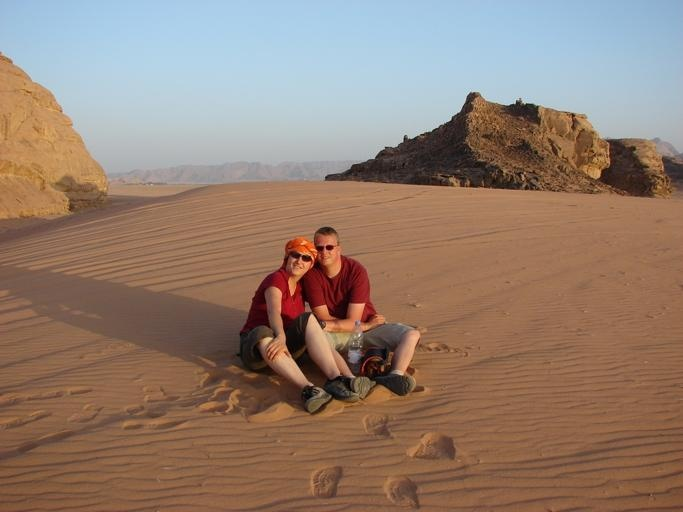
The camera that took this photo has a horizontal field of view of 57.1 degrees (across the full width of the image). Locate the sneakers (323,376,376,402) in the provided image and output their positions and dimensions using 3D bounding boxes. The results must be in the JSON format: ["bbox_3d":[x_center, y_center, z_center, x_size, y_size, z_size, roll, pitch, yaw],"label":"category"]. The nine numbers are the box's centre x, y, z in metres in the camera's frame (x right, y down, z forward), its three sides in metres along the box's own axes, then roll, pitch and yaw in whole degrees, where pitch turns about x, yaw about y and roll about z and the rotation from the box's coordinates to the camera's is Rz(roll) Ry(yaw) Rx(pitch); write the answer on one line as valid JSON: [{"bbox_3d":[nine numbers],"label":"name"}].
[{"bbox_3d":[0.086,1.222,5.822,0.471,0.216,0.190,0,11,1],"label":"sneakers"}]

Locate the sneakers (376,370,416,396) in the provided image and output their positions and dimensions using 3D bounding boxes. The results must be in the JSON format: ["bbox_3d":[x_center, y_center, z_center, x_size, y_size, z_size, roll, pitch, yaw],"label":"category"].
[{"bbox_3d":[0.511,1.168,5.955,0.485,0.156,0.153,14,34,33],"label":"sneakers"}]

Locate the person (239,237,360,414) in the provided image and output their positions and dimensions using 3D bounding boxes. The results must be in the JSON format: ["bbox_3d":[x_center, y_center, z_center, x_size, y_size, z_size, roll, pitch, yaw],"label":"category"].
[{"bbox_3d":[-0.439,0.602,6.017,0.771,1.510,1.225,-7,14,-32],"label":"person"}]

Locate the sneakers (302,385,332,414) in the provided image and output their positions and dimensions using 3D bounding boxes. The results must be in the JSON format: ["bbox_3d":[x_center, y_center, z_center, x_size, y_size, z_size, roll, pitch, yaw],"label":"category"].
[{"bbox_3d":[-0.223,1.301,5.738,0.269,0.210,0.236,-1,11,-6],"label":"sneakers"}]
